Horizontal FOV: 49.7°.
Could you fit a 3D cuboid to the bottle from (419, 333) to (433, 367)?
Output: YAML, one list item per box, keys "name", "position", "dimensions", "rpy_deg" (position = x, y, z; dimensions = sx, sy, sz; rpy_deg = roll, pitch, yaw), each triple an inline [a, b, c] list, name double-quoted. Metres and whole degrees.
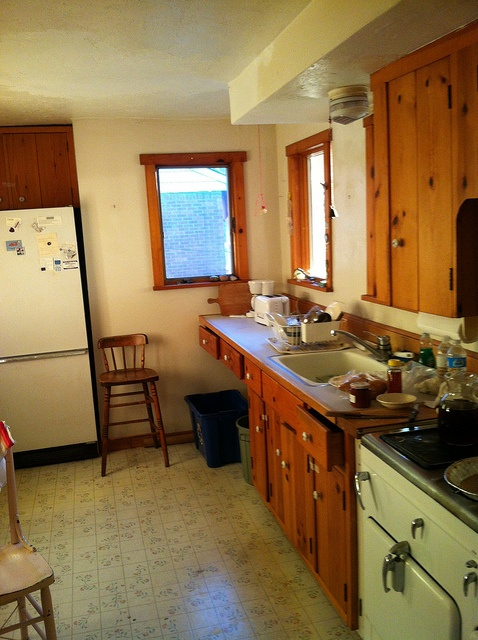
- name: "bottle"
  position: [0.764, 0.121, 2.098]
  dimensions: [0.063, 0.130, 0.119]
  rpy_deg: [-2, 7, 19]

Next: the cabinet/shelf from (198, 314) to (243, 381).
- name: "cabinet/shelf"
  position: [-0.139, 0.164, 3.571]
  dimensions: [0.284, 0.118, 0.535]
  rpy_deg: [-7, 28, -32]

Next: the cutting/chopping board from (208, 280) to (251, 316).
- name: "cutting/chopping board"
  position: [-0.075, -0.174, 4.022]
  dimensions: [0.337, 0.254, 0.128]
  rpy_deg: [-4, 7, 0]

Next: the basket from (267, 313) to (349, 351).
- name: "basket"
  position: [0.300, 0.031, 2.716]
  dimensions: [0.217, 0.105, 0.282]
  rpy_deg: [-1, 9, -10]

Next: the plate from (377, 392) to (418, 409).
- name: "plate"
  position: [0.528, 0.266, 1.723]
  dimensions: [0.115, 0.032, 0.134]
  rpy_deg: [-1, 7, 29]

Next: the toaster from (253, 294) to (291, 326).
- name: "toaster"
  position: [0.221, -0.103, 3.524]
  dimensions: [0.192, 0.227, 0.319]
  rpy_deg: [-7, 16, -20]

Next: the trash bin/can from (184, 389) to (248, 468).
- name: "trash bin/can"
  position: [-0.094, 0.734, 3.663]
  dimensions: [0.478, 0.366, 0.547]
  rpy_deg: [-6, 14, -18]

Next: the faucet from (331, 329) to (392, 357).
- name: "faucet"
  position: [0.561, 0.098, 2.430]
  dimensions: [0.172, 0.122, 0.584]
  rpy_deg: [-5, 6, -3]

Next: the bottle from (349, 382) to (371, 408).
- name: "bottle"
  position: [0.401, 0.248, 1.747]
  dimensions: [0.078, 0.076, 0.075]
  rpy_deg: [-3, 6, -23]

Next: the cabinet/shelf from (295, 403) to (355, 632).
- name: "cabinet/shelf"
  position: [0.317, 0.698, 1.867]
  dimensions: [0.120, 0.750, 0.412]
  rpy_deg: [-6, 7, -5]

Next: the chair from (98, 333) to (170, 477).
- name: "chair"
  position: [-0.793, 0.590, 3.750]
  dimensions: [0.581, 0.869, 0.549]
  rpy_deg: [-2, 5, 4]

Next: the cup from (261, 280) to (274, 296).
- name: "cup"
  position: [0.206, -0.235, 3.735]
  dimensions: [0.085, 0.102, 0.128]
  rpy_deg: [-4, 7, 2]

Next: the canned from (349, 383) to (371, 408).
- name: "canned"
  position: [0.400, 0.248, 1.750]
  dimensions: [0.078, 0.076, 0.075]
  rpy_deg: [-3, 6, -24]

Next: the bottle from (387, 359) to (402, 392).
- name: "bottle"
  position: [0.561, 0.200, 1.865]
  dimensions: [0.052, 0.108, 0.151]
  rpy_deg: [-3, 7, 16]

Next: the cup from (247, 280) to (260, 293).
- name: "cup"
  position: [0.108, -0.242, 3.806]
  dimensions: [0.110, 0.077, 0.084]
  rpy_deg: [3, 23, 6]
